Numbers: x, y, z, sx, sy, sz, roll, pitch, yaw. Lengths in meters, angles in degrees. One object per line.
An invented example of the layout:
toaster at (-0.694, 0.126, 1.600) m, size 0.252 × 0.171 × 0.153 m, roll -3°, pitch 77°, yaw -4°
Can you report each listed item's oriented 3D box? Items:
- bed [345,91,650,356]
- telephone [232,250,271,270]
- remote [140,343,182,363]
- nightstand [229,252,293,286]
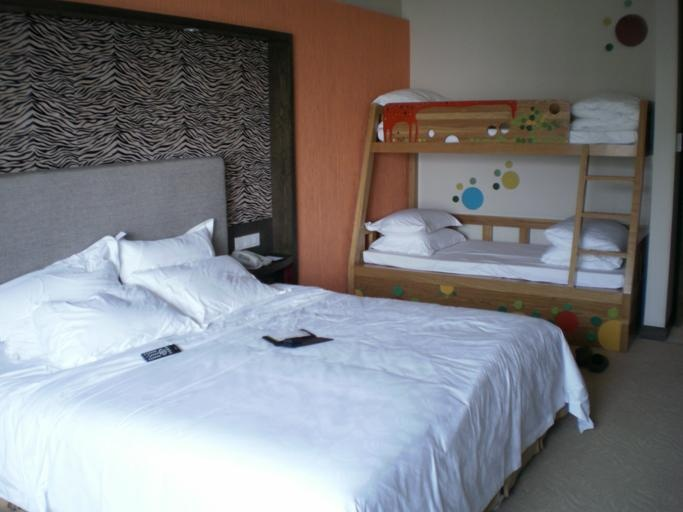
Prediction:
bed at (1.454, -0.493, 4.632) m, size 2.514 × 2.068 × 2.162 m, roll 6°, pitch 20°, yaw 32°
telephone at (-0.719, 0.017, 3.852) m, size 0.186 × 0.074 × 0.189 m, roll 7°, pitch 9°, yaw 17°
remote at (-0.916, 0.483, 2.489) m, size 0.200 × 0.027 × 0.118 m, roll -11°, pitch 14°, yaw -42°
nightstand at (-0.682, 0.086, 4.094) m, size 0.523 × 0.318 × 0.272 m, roll 0°, pitch 3°, yaw -25°
